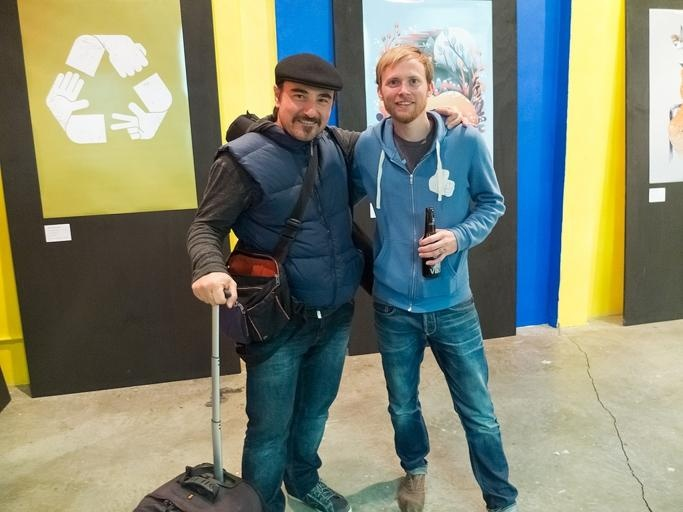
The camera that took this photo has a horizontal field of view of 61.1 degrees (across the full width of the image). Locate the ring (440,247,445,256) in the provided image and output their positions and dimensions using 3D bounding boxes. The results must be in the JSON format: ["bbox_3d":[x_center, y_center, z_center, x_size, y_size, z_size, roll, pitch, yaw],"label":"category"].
[{"bbox_3d":[0.491,-0.025,2.809,0.024,0.038,0.034,0,-13,5],"label":"ring"}]
